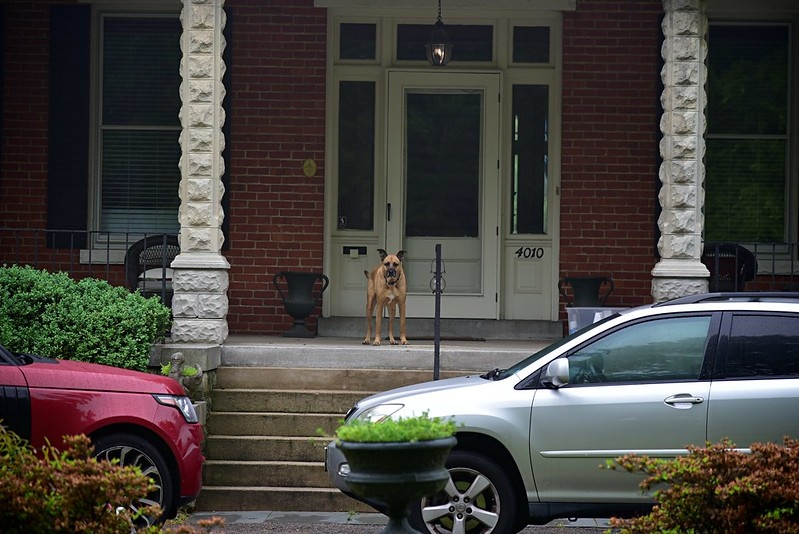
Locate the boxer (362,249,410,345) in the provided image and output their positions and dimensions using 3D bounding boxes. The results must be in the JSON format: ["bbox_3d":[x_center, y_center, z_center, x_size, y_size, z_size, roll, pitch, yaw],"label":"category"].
[{"bbox_3d":[-0.144,0.371,17.863,0.634,1.211,0.739,1,9,5],"label":"boxer"}]

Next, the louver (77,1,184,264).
[{"bbox_3d":[-3.711,-1.984,19.211,1.461,3.526,0.248,-2,22,-19],"label":"louver"}]
